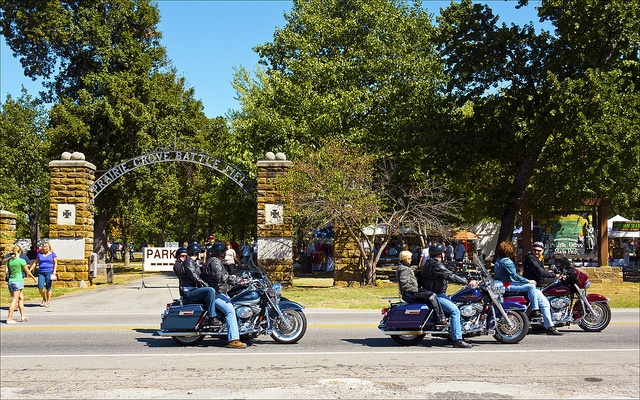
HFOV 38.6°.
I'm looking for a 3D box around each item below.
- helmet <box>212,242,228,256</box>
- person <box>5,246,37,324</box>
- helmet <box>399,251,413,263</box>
[{"bbox_3d":[-4.645,2.227,41.704,0.649,0.528,0.465,-20,33,-14],"label":"helmet"},{"bbox_3d":[-15.007,4.252,45.274,0.993,3.821,1.567,0,-7,-17],"label":"person"},{"bbox_3d":[3.849,2.589,41.641,0.499,0.462,0.395,-7,11,-35],"label":"helmet"}]
